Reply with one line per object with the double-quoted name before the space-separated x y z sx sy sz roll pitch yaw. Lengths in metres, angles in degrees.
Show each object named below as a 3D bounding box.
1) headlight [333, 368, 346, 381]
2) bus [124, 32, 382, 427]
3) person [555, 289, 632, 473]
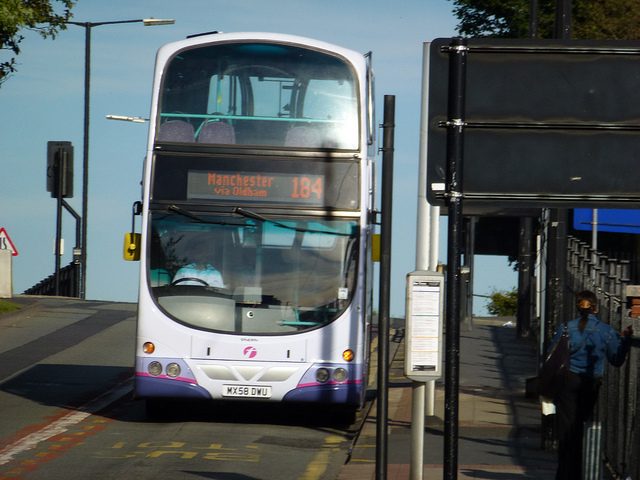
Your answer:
"headlight" 0.252 1.823 14.917 0.168 0.163 0.052 2 4 5
"bus" -0.895 -0.278 15.334 3.163 5.139 1.331 2 4 -3
"person" 2.915 1.548 12.016 0.707 1.933 0.482 3 4 11
